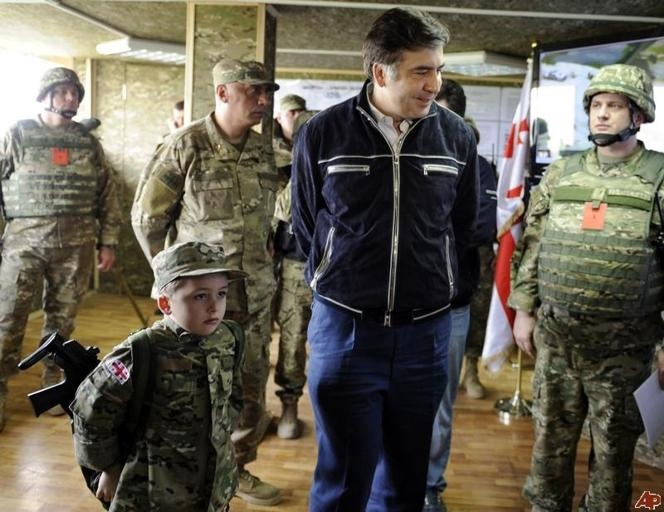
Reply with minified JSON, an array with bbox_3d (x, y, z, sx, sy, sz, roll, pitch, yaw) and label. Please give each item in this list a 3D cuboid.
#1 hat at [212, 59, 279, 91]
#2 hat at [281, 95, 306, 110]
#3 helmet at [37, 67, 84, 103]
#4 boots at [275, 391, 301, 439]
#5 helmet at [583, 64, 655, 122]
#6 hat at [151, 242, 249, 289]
[{"bbox_3d":[-0.426,-0.879,3.072,0.272,0.102,0.179,4,8,-2],"label":"hat"},{"bbox_3d":[-0.329,-1.250,5.201,0.145,0.095,0.171,-2,3,-4],"label":"hat"},{"bbox_3d":[-1.675,-1.091,3.948,0.219,0.192,0.266,-5,-10,-25],"label":"helmet"},{"bbox_3d":[-0.264,0.952,3.859,0.138,0.232,0.253,6,22,-13],"label":"boots"},{"bbox_3d":[1.259,-0.685,2.776,0.237,0.205,0.304,6,-2,33],"label":"helmet"},{"bbox_3d":[-0.499,0.023,2.342,0.287,0.085,0.195,-4,-2,11],"label":"hat"}]
